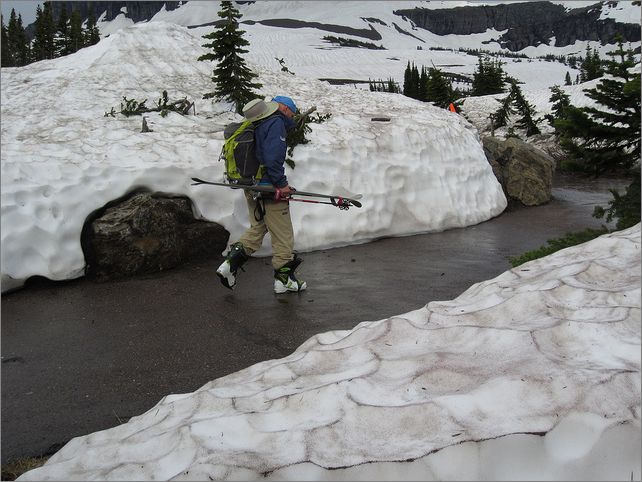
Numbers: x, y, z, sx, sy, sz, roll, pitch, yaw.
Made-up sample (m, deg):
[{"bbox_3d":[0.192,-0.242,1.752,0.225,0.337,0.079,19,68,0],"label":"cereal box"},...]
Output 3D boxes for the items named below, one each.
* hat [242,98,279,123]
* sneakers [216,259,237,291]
[{"bbox_3d":[-0.797,-1.688,5.558,0.346,0.112,0.331,-4,46,29],"label":"hat"},{"bbox_3d":[-1.231,0.447,5.596,0.219,0.482,0.176,-38,63,-19],"label":"sneakers"}]
